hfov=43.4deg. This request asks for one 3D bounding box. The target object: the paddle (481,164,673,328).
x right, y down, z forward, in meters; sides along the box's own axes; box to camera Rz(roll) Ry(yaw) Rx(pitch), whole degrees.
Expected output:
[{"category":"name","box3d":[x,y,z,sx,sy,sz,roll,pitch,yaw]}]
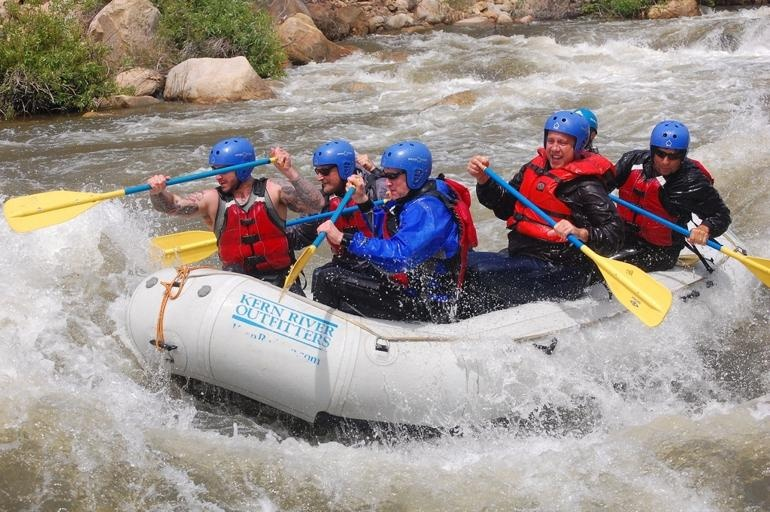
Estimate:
[{"category":"paddle","box3d":[2.195,-0.059,11.059,2.940,0.131,0.434,39,90,22]}]

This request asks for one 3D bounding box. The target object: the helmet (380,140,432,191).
[{"category":"helmet","box3d":[0.258,-0.992,10.763,0.573,0.440,0.436,0,9,-16]}]

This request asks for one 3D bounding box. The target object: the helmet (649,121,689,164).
[{"category":"helmet","box3d":[3.376,-1.298,11.557,0.428,0.496,0.573,6,1,14]}]

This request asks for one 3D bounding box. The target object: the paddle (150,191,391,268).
[{"category":"paddle","box3d":[-1.627,-0.255,11.816,3.366,0.253,1.002,-12,40,-2]}]

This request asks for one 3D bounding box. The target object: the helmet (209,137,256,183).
[{"category":"helmet","box3d":[-1.750,-1.127,11.344,0.558,0.444,0.417,-21,21,-38]}]

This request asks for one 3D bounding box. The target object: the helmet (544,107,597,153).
[{"category":"helmet","box3d":[2.110,-1.432,11.070,0.449,0.437,0.596,16,28,41]}]

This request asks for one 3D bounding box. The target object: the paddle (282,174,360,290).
[{"category":"paddle","box3d":[-0.731,-0.273,11.125,1.704,0.154,0.227,-52,41,10]}]

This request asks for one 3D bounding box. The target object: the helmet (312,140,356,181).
[{"category":"helmet","box3d":[-0.582,-1.118,11.296,0.417,0.434,0.531,8,21,41]}]
